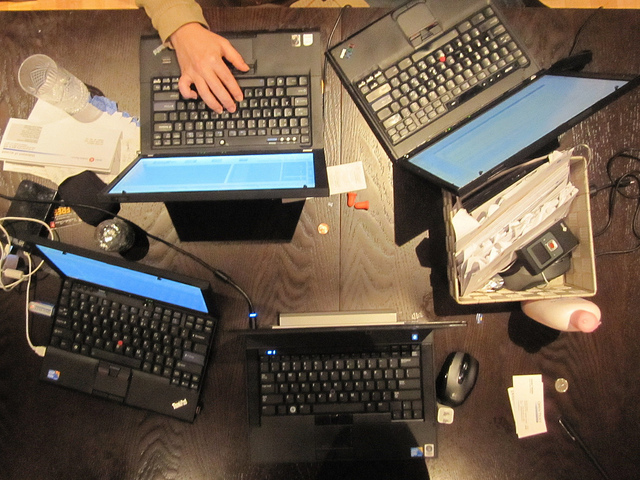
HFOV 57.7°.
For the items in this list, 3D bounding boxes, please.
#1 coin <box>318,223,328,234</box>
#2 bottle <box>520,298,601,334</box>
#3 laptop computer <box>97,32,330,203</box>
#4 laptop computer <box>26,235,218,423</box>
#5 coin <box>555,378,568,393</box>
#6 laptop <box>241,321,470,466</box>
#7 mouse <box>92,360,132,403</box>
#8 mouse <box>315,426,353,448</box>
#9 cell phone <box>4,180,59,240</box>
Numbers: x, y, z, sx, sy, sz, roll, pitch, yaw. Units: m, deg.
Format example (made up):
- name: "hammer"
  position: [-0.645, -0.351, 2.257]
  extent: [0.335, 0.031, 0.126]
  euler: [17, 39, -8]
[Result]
- name: "coin"
  position: [0.013, -0.037, 1.877]
  extent: [0.030, 0.010, 0.031]
  euler: [0, 71, 0]
- name: "bottle"
  position: [0.736, 0.211, 1.743]
  extent: [0.103, 0.186, 0.057]
  euler: [-29, 117, -24]
- name: "laptop computer"
  position: [-0.291, -0.368, 1.748]
  extent: [0.622, 0.189, 0.606]
  euler: [-1, 71, 0]
- name: "laptop computer"
  position: [-0.595, 0.275, 1.709]
  extent: [0.533, 0.348, 0.372]
  euler: [12, 71, 4]
- name: "coin"
  position: [0.768, 0.458, 1.837]
  extent: [0.040, 0.009, 0.040]
  euler: [0, 71, 0]
- name: "laptop"
  position: [0.058, 0.485, 1.631]
  extent: [0.565, 0.393, 0.395]
  euler: [-7, 87, 7]
- name: "mouse"
  position: [-0.644, 0.436, 1.793]
  extent: [0.102, 0.027, 0.121]
  euler: [7, 92, 1]
- name: "mouse"
  position: [0.045, 0.604, 1.827]
  extent: [0.110, 0.027, 0.064]
  euler: [0, 84, 3]
- name: "cell phone"
  position: [-0.918, -0.089, 1.853]
  extent: [0.110, 0.020, 0.212]
  euler: [20, 82, -3]
